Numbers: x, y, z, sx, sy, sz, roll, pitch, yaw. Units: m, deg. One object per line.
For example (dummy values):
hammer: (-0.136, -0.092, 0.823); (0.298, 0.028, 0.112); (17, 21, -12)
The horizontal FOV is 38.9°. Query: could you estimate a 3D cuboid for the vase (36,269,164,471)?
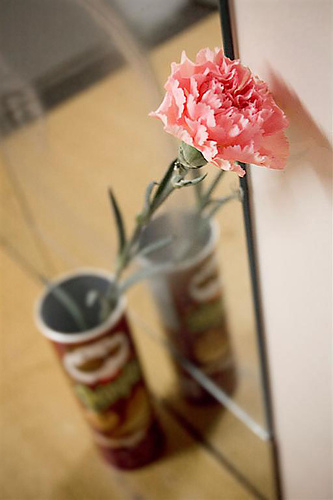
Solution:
vase: (-0.029, 0.066, 0.234); (0.039, 0.098, 0.036); (-26, 32, -22)
